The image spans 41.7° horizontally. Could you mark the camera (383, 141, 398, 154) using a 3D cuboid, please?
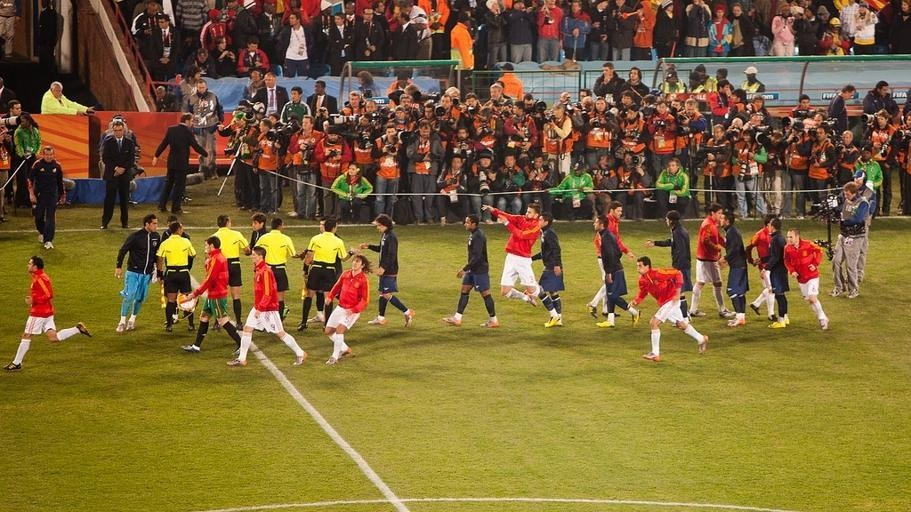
[{"bbox_3d":[-2.085,-3.389,37.788,0.295,0.361,0.436,7,5,39],"label":"camera"}]

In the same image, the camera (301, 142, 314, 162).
[{"bbox_3d":[-4.762,-3.296,38.157,0.601,0.522,0.265,3,1,-7],"label":"camera"}]

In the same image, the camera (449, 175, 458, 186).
[{"bbox_3d":[-0.061,-2.389,38.021,0.240,0.262,0.281,5,15,18],"label":"camera"}]

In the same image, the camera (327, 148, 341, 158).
[{"bbox_3d":[-3.886,-3.242,37.881,0.391,0.254,0.166,-1,5,-3],"label":"camera"}]

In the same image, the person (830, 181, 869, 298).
[{"bbox_3d":[11.026,-0.447,33.570,1.035,3.222,0.727,-2,5,-8],"label":"person"}]

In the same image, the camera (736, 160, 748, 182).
[{"bbox_3d":[9.247,-2.771,38.660,0.514,0.608,0.266,3,12,17],"label":"camera"}]

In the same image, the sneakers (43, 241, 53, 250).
[{"bbox_3d":[-12.137,-0.320,35.623,0.153,0.131,0.346,-9,6,-33],"label":"sneakers"}]

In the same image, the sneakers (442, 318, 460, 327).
[{"bbox_3d":[-0.102,1.746,31.893,0.548,0.200,0.186,14,18,6],"label":"sneakers"}]

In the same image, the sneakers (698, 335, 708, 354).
[{"bbox_3d":[6.307,2.257,30.602,0.260,0.499,0.188,-6,38,-5],"label":"sneakers"}]

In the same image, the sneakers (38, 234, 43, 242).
[{"bbox_3d":[-12.541,-0.537,36.120,0.196,0.207,0.128,9,24,8],"label":"sneakers"}]

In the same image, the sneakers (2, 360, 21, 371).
[{"bbox_3d":[-10.807,2.687,29.192,0.422,0.189,0.175,2,10,2],"label":"sneakers"}]

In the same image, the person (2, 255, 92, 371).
[{"bbox_3d":[-10.178,1.386,29.295,1.708,2.705,0.744,-2,6,-16],"label":"person"}]

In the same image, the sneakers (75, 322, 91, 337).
[{"bbox_3d":[-9.454,1.873,30.310,0.221,0.453,0.161,-28,49,4],"label":"sneakers"}]

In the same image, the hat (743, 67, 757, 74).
[{"bbox_3d":[10.043,-6.331,40.887,0.333,0.143,0.232,4,15,-4],"label":"hat"}]

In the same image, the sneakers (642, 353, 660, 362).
[{"bbox_3d":[4.890,2.544,30.225,0.401,0.142,0.184,10,2,-1],"label":"sneakers"}]

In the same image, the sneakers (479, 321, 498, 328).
[{"bbox_3d":[0.864,1.774,31.923,0.506,0.182,0.172,1,11,6],"label":"sneakers"}]

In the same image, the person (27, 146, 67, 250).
[{"bbox_3d":[-12.238,-1.750,35.798,0.931,3.013,0.991,-3,6,-19],"label":"person"}]
